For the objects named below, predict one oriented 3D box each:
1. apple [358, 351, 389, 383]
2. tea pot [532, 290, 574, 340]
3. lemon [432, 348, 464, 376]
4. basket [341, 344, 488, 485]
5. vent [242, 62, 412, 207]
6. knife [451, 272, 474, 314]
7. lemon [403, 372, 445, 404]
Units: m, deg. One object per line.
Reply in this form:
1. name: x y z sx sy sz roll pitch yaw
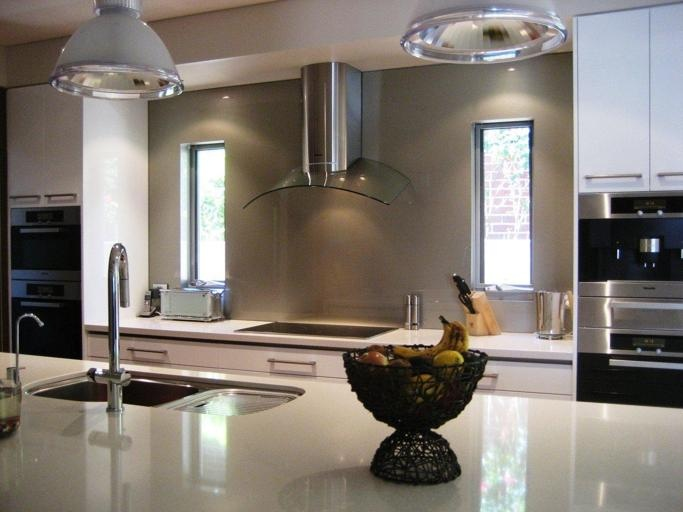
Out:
1. apple: 0.071 0.251 1.254 0.064 0.037 0.087 1 0 -16
2. tea pot: 1.193 0.337 3.169 0.295 0.288 0.179 2 -3 -21
3. lemon: 0.236 0.236 1.242 0.056 0.056 0.052 0 23 2
4. basket: 0.144 0.341 1.359 0.324 0.242 0.299 0 -5 -5
5. vent: -0.073 -0.792 3.648 1.178 0.893 1.011 -1 3 14
6. knife: 0.726 0.223 3.309 0.123 0.220 0.121 0 1 10
7. lemon: 0.178 0.286 1.210 0.077 0.046 0.058 9 -8 -38
